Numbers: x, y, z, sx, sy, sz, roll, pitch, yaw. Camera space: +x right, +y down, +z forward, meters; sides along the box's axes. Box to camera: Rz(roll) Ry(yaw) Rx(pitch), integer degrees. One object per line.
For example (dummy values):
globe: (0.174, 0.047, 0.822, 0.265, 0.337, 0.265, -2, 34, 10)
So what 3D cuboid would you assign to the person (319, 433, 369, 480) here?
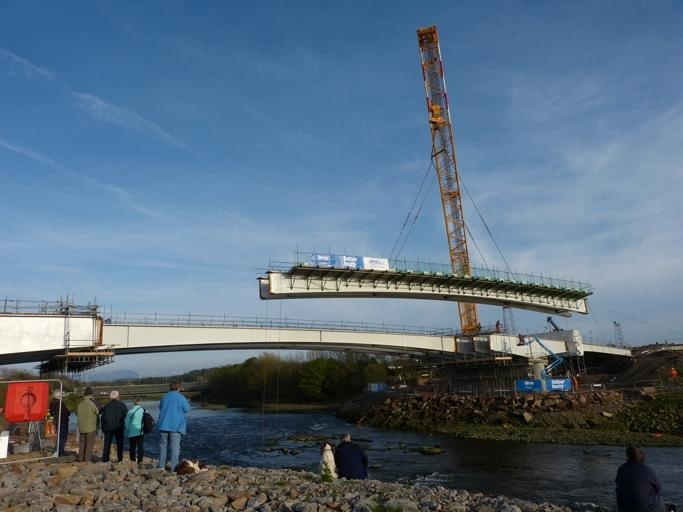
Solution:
person: (0.035, 7.367, 17.771, 1.543, 1.726, 0.705, -10, -11, 34)
